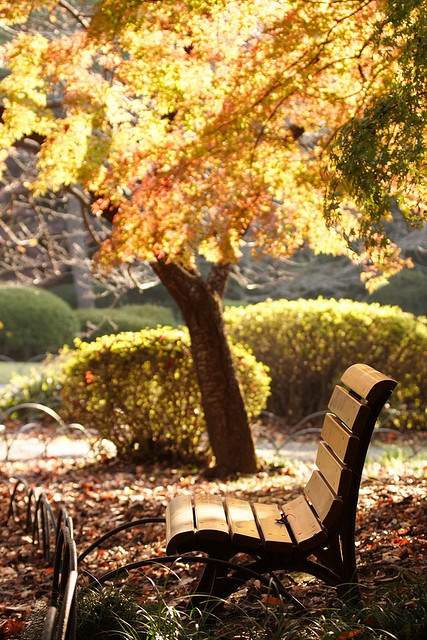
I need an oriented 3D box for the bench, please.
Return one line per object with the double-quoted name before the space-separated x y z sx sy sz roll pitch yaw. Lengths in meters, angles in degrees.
"bench" 0.269 0.802 3.012 1.029 0.840 0.767 -2 -1 -13
